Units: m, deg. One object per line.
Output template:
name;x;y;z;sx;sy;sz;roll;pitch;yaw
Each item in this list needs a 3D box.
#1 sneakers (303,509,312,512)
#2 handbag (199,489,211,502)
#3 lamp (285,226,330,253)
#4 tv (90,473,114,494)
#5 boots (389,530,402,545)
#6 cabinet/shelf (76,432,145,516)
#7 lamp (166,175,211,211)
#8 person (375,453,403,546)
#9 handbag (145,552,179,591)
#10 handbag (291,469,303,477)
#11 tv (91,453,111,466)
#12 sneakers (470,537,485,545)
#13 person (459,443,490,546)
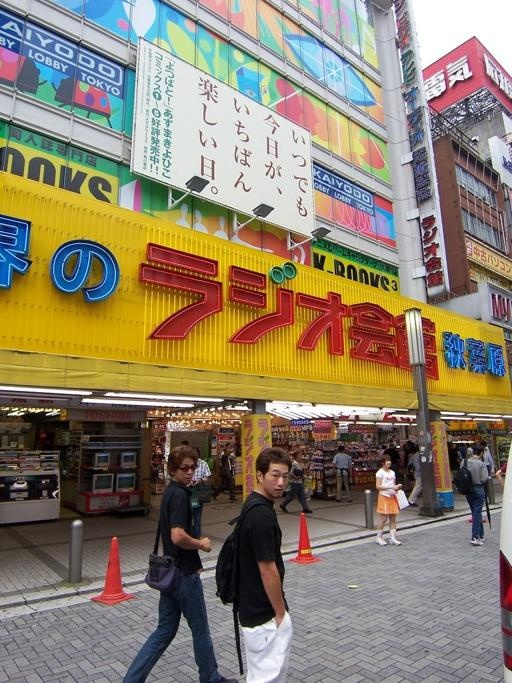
sneakers;1.482;4.833;13.128;0.300;0.118;0.101;-1;-12;0
handbag;-0.997;2.971;8.927;0.164;0.238;0.255;-15;-17;41
lamp;1.790;-3.600;16.306;1.573;0.585;0.857;2;-1;43
tv;-4.162;3.864;12.510;0.545;0.502;0.299;6;-7;-44
boots;2.736;3.837;9.078;0.240;0.304;0.357;-5;-10;15
cabinet/shelf;-4.062;3.746;12.812;1.750;2.394;1.210;9;-22;-33
lamp;-1.769;-3.993;12.591;1.227;0.626;0.723;-10;-12;39
person;2.635;3.174;9.279;0.524;1.757;0.778;-5;-10;16
handbag;-0.661;1.586;3.133;0.153;0.257;0.277;6;-12;-40
handbag;1.157;3.712;12.957;0.179;0.238;0.497;-11;-13;43
tv;-4.251;3.271;12.691;0.385;0.391;0.384;10;-18;-40
sneakers;4.255;3.824;8.792;0.318;0.114;0.167;0;-9;-12
person;4.403;3.039;9.300;0.541;1.886;1.085;-6;-11;24
